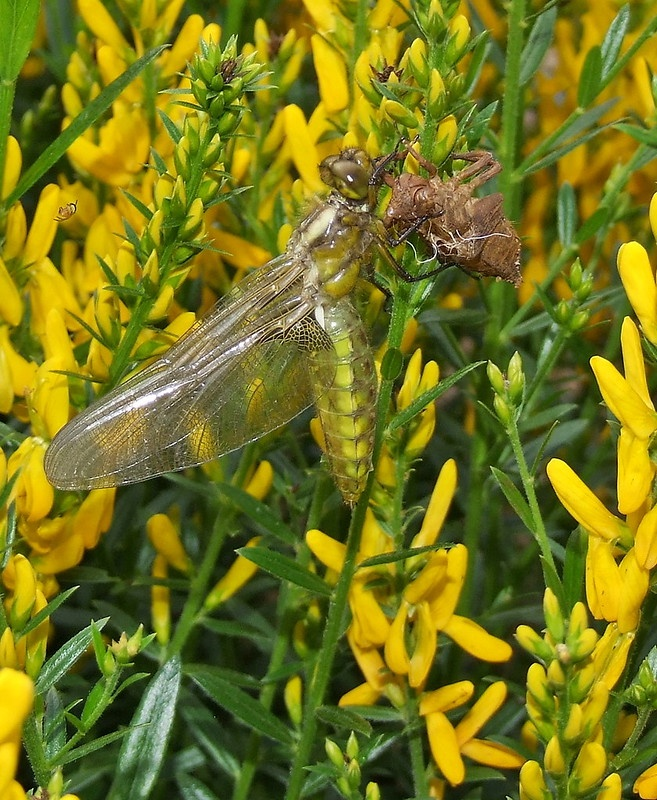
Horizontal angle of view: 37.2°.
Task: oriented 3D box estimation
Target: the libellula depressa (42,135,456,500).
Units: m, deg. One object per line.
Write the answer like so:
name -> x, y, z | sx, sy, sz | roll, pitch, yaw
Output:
libellula depressa -> -0.061, -0.051, 1.137 | 0.204, 0.427, 0.372 | 10, 84, -26

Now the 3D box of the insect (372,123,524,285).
insect -> 0.124, -0.190, 0.956 | 0.141, 0.167, 0.112 | -1, 45, 0
